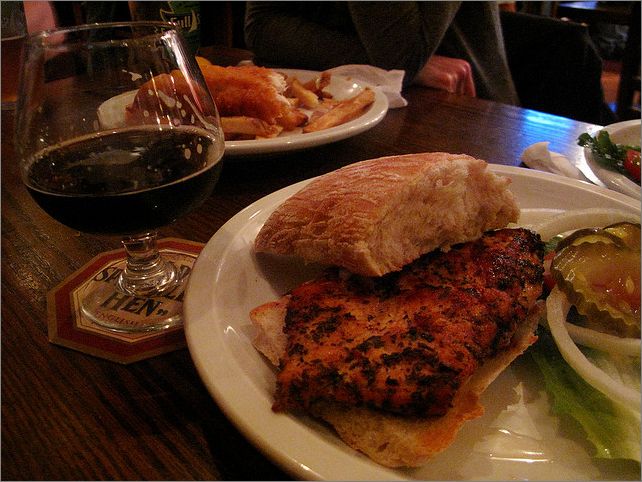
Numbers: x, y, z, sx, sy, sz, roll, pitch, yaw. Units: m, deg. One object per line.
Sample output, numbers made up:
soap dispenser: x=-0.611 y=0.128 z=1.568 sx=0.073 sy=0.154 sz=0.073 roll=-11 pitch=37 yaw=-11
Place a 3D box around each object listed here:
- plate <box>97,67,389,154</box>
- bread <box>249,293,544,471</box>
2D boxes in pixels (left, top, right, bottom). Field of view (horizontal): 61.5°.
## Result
plate: x=-0.233 y=-0.421 z=1.783 sx=0.574 sy=0.076 sz=0.543 roll=-18 pitch=36 yaw=-25
bread: x=0.241 y=0.312 z=1.129 sx=0.399 sy=0.092 sz=0.391 roll=-30 pitch=40 yaw=-25
